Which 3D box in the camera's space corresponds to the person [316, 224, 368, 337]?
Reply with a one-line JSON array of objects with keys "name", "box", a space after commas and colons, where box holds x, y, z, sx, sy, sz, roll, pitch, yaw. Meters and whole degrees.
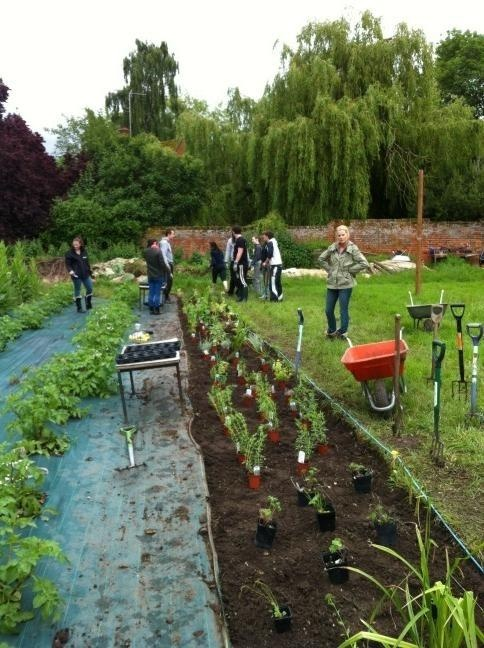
[{"name": "person", "box": [1.459, -0.686, 7.232, 0.614, 1.785, 0.563, -3, 9, -19]}]

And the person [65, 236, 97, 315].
[{"name": "person", "box": [-3.436, -1.080, 10.396, 0.564, 1.728, 0.500, -1, 11, -25]}]

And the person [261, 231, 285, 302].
[{"name": "person", "box": [0.687, -1.203, 10.808, 0.339, 1.556, 0.411, 2, 6, -18]}]

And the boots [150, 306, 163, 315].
[{"name": "boots", "box": [-1.853, -0.284, 10.503, 0.151, 0.273, 0.185, 4, 16, 12]}]

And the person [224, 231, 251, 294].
[{"name": "person", "box": [-0.104, -1.310, 11.025, 0.445, 1.519, 0.504, -1, 9, -21]}]

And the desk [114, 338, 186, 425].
[{"name": "desk", "box": [-0.990, 0.564, 5.334, 0.656, 0.636, 1.013, -6, 13, -9]}]

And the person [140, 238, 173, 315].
[{"name": "person", "box": [-1.804, -0.931, 10.134, 0.464, 1.499, 0.520, -1, 9, -19]}]
